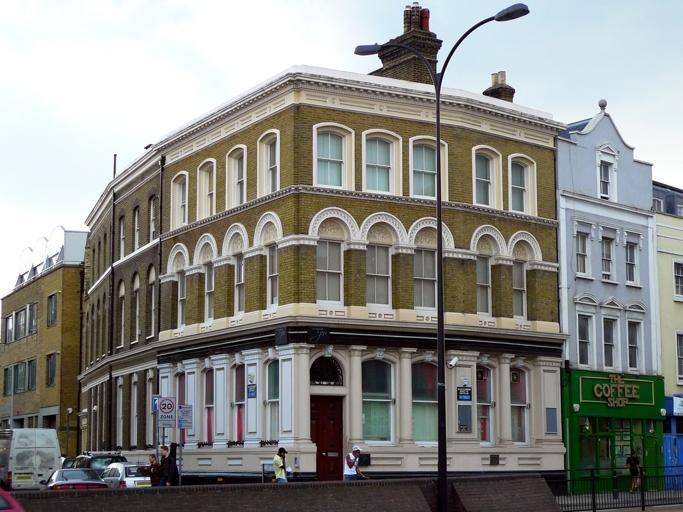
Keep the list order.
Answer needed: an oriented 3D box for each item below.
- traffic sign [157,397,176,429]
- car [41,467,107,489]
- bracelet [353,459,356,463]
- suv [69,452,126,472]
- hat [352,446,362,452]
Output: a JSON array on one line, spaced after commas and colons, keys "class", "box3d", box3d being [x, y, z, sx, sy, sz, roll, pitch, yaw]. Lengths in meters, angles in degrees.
[{"class": "traffic sign", "box3d": [-6.493, 5.896, 46.263, 0.314, 1.135, 0.834, -16, -23, 39]}, {"class": "car", "box3d": [-9.914, 8.477, 46.905, 2.084, 1.044, 2.804, 3, -19, -14]}, {"class": "bracelet", "box3d": [0.510, 7.902, 47.244, 0.117, 0.201, 0.119, 1, -13, -15]}, {"class": "suv", "box3d": [-10.457, 8.748, 53.059, 1.131, 1.003, 2.155, 3, -3, -26]}, {"class": "hat", "box3d": [0.544, 7.579, 48.161, 0.225, 0.169, 0.313, 7, -17, -32]}]
